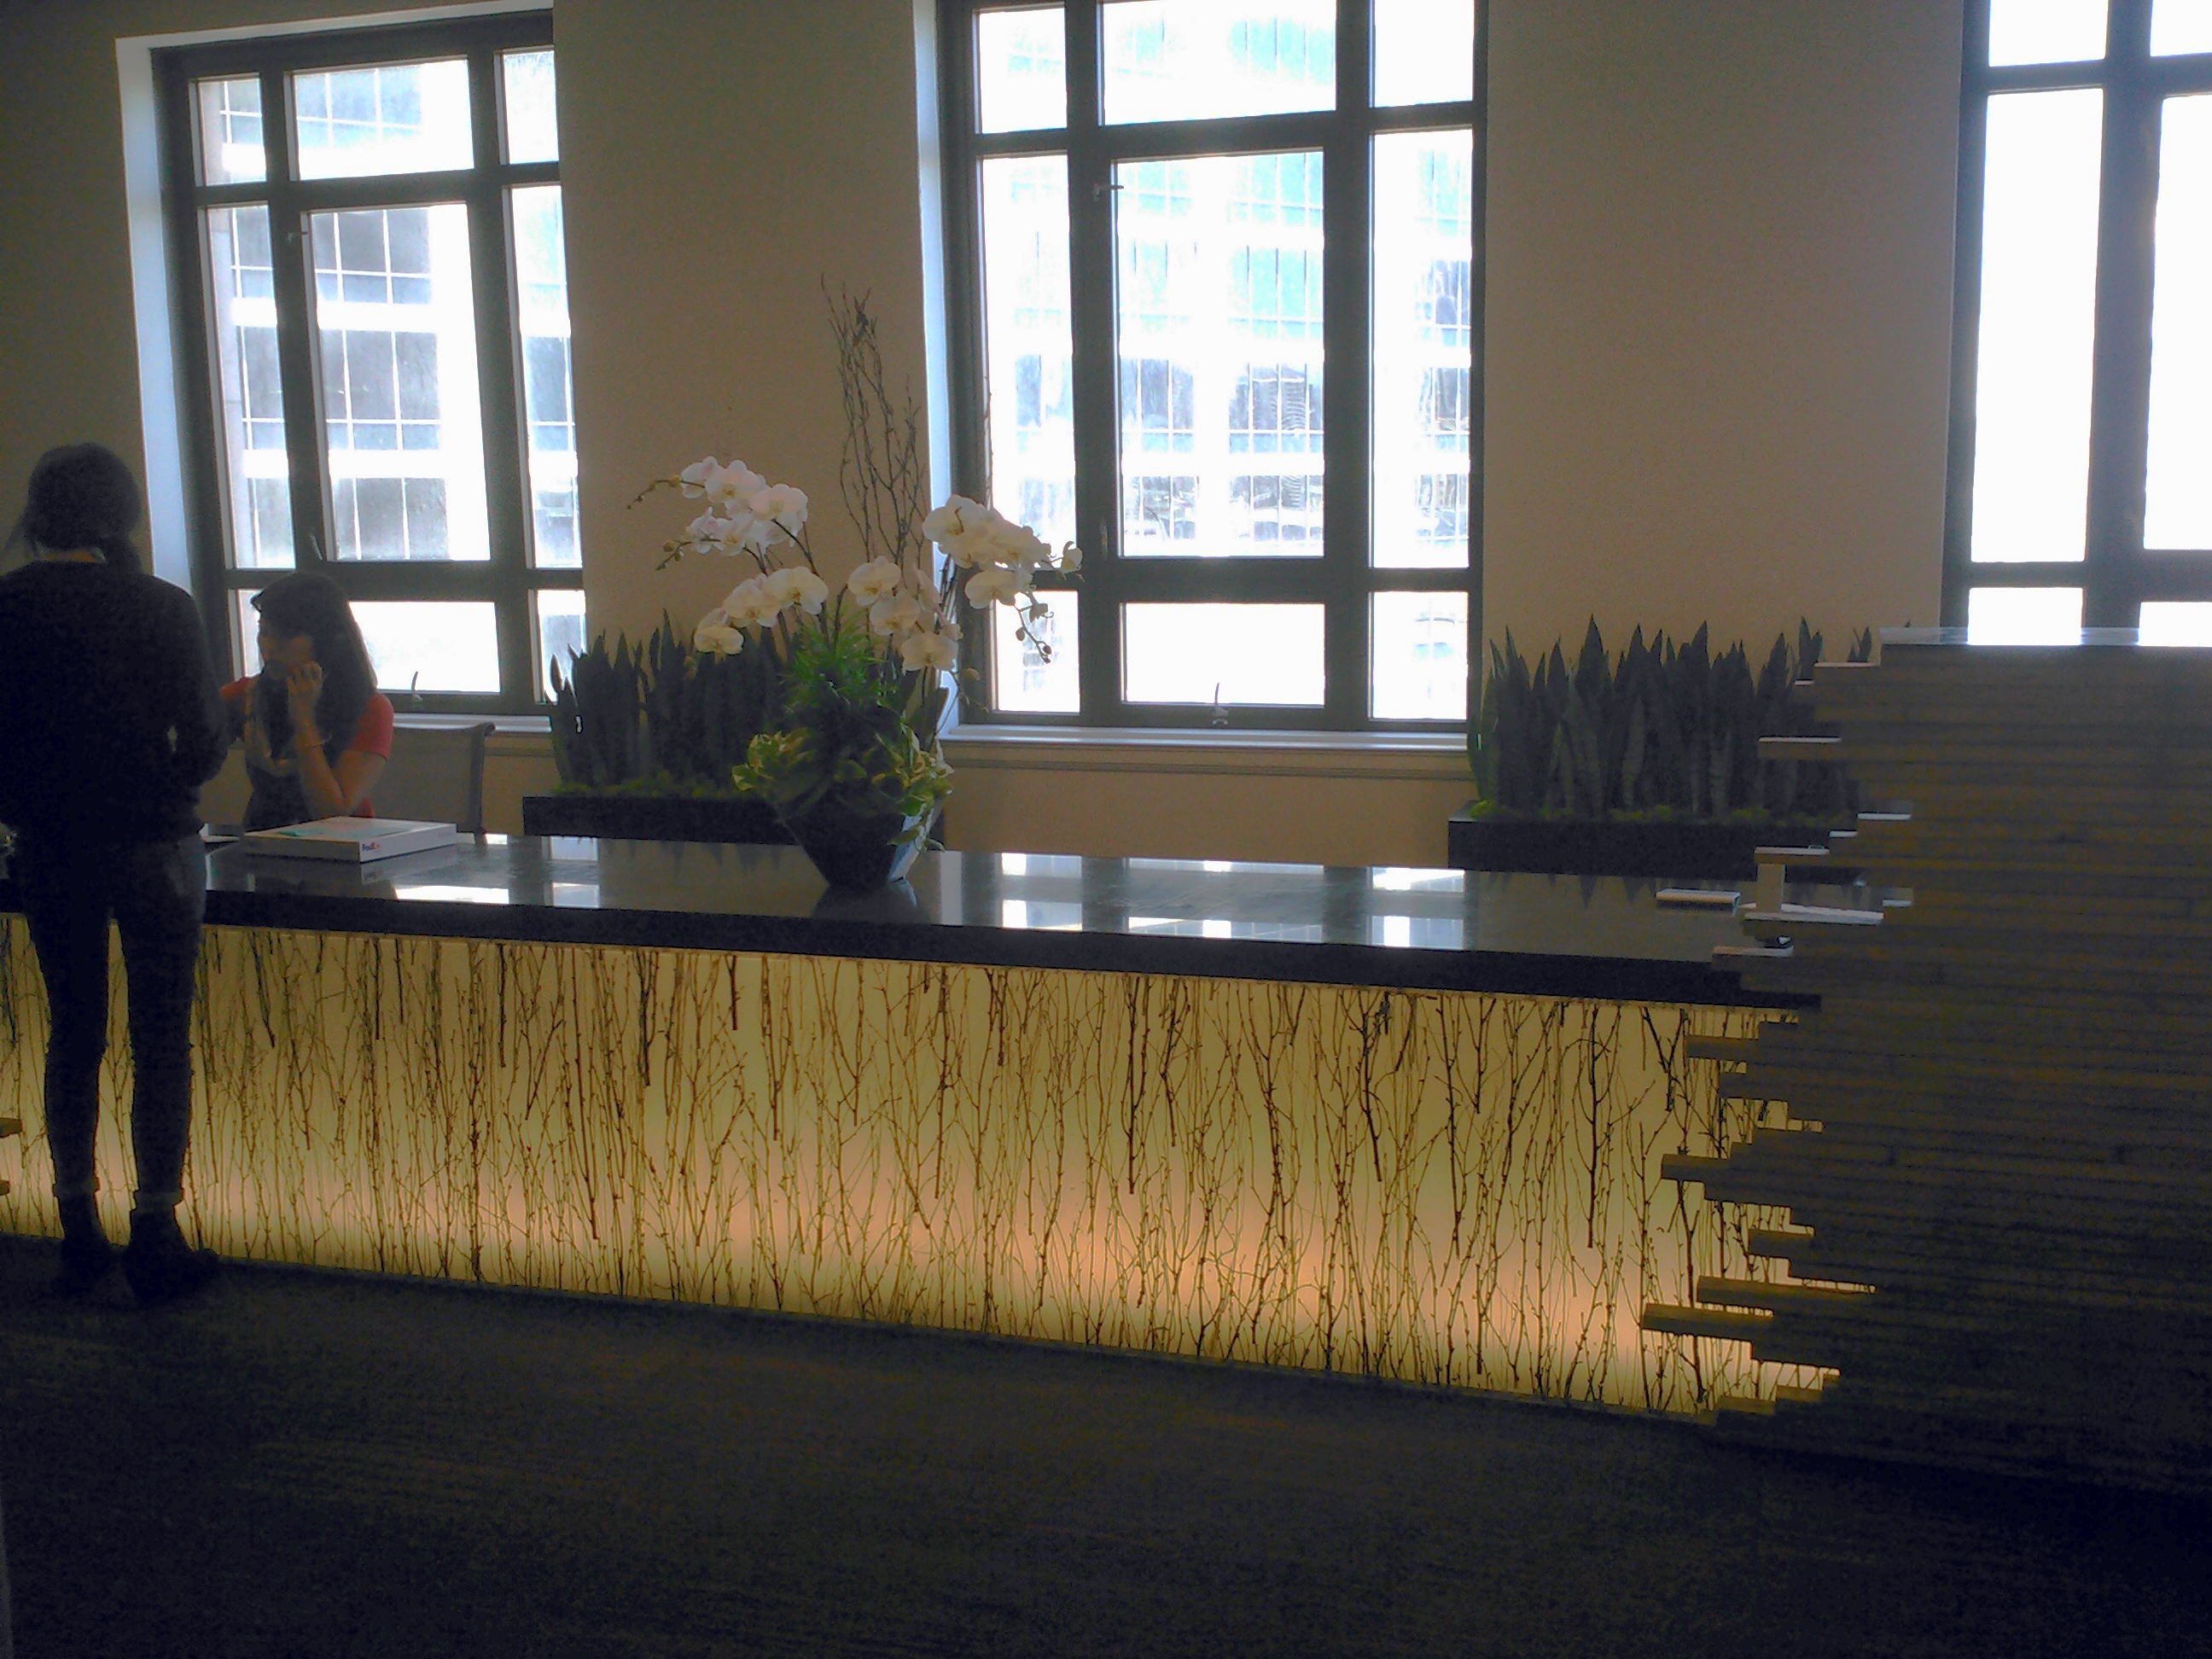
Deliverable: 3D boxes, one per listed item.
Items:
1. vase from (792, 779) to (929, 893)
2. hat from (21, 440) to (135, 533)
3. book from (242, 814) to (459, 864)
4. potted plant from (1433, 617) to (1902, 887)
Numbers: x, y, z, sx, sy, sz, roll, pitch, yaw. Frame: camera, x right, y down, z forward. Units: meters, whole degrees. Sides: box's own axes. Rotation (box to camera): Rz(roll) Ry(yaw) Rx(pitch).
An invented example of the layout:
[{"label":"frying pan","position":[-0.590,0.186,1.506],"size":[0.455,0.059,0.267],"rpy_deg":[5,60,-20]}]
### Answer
[{"label":"vase","position":[-0.481,0.015,4.012],"size":[0.278,0.210,0.213],"rpy_deg":[1,1,-10]},{"label":"hat","position":[-2.089,-0.701,4.179],"size":[0.152,0.218,0.213],"rpy_deg":[5,10,19]},{"label":"book","position":[-1.656,0.021,4.429],"size":[0.479,0.085,0.319],"rpy_deg":[2,2,27]},{"label":"potted plant","position":[1.626,-0.261,6.115],"size":[1.158,0.765,0.854],"rpy_deg":[2,2,12]}]
